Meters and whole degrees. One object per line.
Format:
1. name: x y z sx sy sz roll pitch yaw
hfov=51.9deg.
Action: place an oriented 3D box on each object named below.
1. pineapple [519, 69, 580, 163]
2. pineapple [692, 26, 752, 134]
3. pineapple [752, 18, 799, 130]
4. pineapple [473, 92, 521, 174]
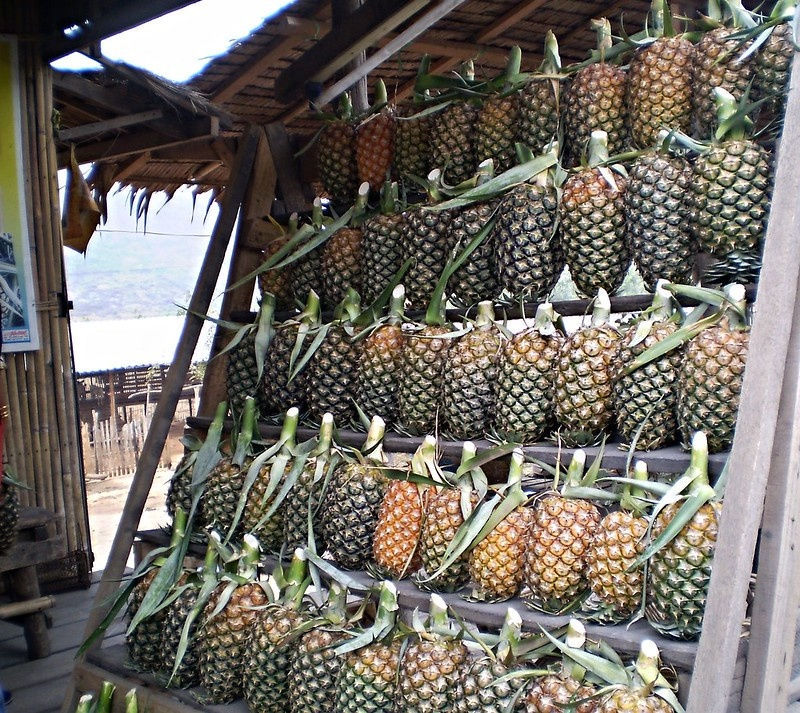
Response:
1. pineapple: 0.382 -0.661 2.201 0.172 0.256 0.193 -3 17 -18
2. pineapple: 0.755 -0.663 1.981 0.095 0.252 0.186 5 -2 -13
3. pineapple: 0.862 -0.665 1.914 0.079 0.274 0.225 3 -2 22
4. pineapple: 0.308 -0.716 2.452 0.142 0.160 0.428 11 28 -4
